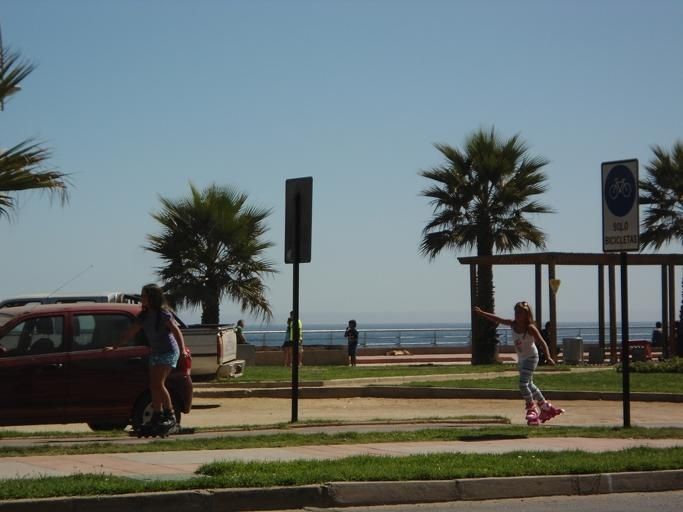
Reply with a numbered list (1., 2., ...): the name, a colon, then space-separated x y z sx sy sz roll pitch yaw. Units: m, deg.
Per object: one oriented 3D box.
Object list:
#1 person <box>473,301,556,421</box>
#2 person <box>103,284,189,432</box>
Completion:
1. person: 3.157 1.805 16.798 0.799 2.051 1.427 -1 -4 16
2. person: -2.803 1.562 15.175 0.786 2.292 0.466 0 -4 -2
